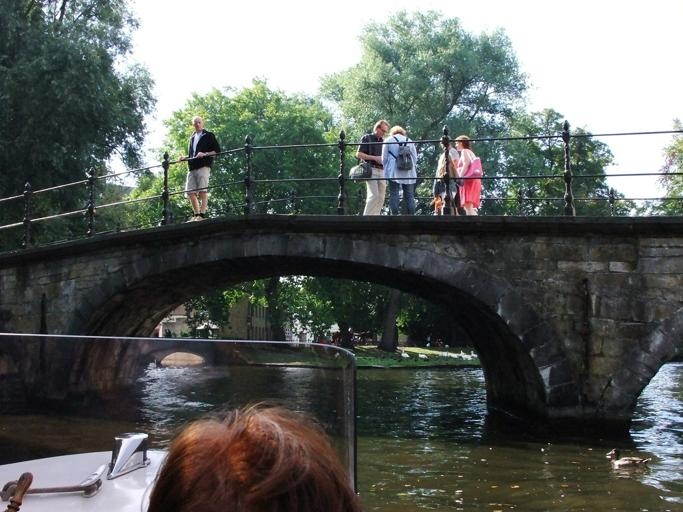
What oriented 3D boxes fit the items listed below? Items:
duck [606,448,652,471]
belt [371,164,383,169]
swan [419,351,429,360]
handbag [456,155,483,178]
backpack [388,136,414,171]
[{"bbox_3d":[4.707,3.372,17.597,0.778,0.532,0.309,-5,-22,22],"label":"duck"},{"bbox_3d":[0.628,-1.615,19.695,0.152,0.087,0.109,1,1,-1],"label":"belt"},{"bbox_3d":[2.822,3.580,37.435,0.148,0.258,0.363,4,7,-25],"label":"swan"},{"bbox_3d":[2.344,-1.590,19.617,0.417,0.385,0.688,9,1,5],"label":"handbag"},{"bbox_3d":[1.111,-1.817,19.390,0.483,0.748,0.439,-3,-5,-9],"label":"backpack"}]
